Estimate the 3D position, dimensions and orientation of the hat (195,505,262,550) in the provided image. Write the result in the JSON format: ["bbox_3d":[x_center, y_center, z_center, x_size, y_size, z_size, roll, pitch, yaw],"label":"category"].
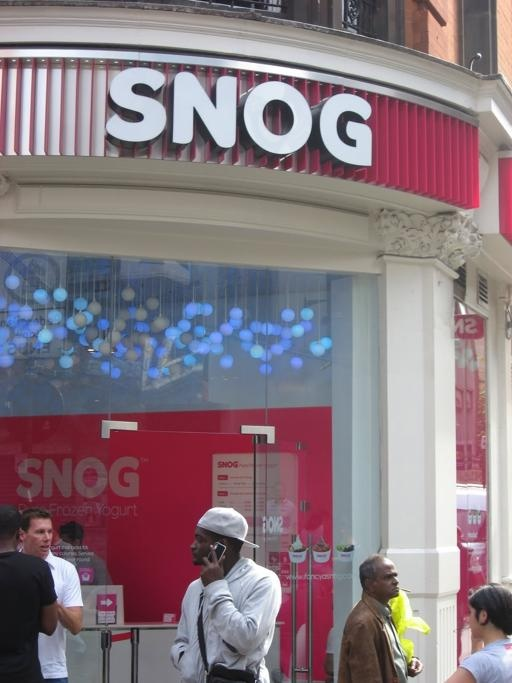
[{"bbox_3d":[-0.149,1.001,8.498,0.296,0.186,0.218,14,-15,-2],"label":"hat"}]

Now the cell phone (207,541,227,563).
[{"bbox_3d":[-0.217,1.158,8.355,0.074,0.143,0.015,18,-36,-1],"label":"cell phone"}]
